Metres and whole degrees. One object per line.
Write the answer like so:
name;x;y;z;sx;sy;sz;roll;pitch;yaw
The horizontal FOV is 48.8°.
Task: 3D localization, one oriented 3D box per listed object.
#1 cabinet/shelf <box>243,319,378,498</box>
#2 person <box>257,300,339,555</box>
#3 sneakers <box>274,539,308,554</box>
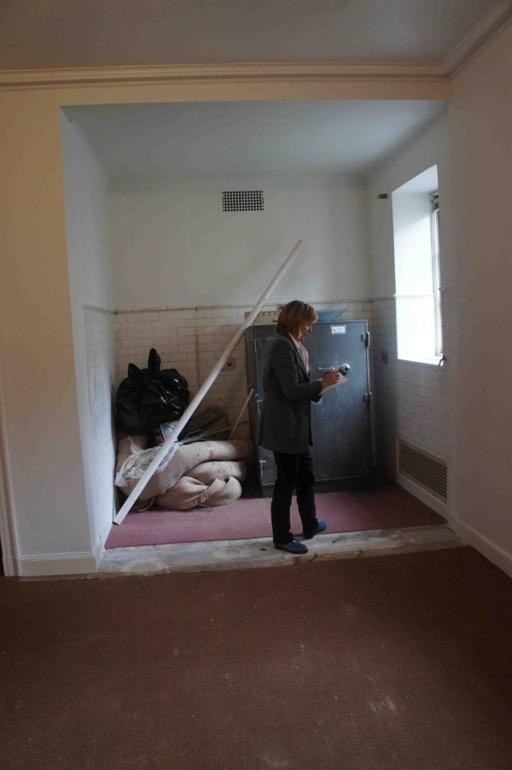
cabinet/shelf;0.429;0.075;4.405;0.834;1.245;0.666;-5;8;-8
person;0.248;0.238;3.024;0.431;1.356;0.403;0;8;21
sneakers;0.192;0.864;3.058;0.160;0.073;0.071;-4;-1;22
